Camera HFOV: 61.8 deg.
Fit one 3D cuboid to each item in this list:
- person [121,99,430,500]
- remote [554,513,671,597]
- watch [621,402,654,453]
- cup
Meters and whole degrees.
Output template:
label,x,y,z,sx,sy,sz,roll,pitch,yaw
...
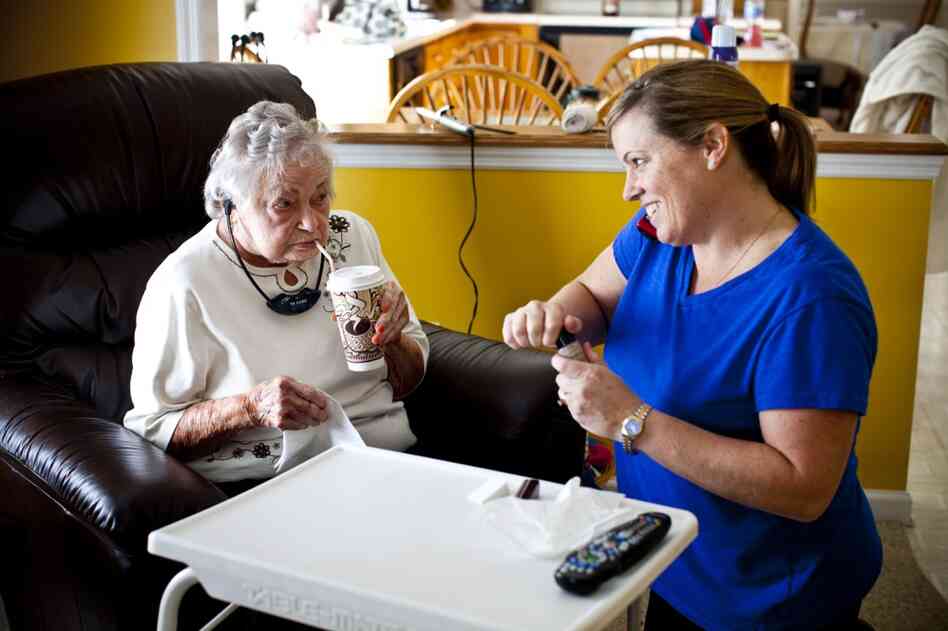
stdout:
label,x,y,z,sx,sy,sz,roll,pitch,yaw
person,-0.537,-0.029,2.030,0.632,0.838,0.909,16,23,27
remote,0.235,0.381,1.340,0.081,0.055,0.248,15,27,40
watch,0.317,0.223,1.576,0.058,0.093,0.087,32,0,14
cup,-0.272,0.020,1.904,0.129,0.272,0.099,-8,23,-13
